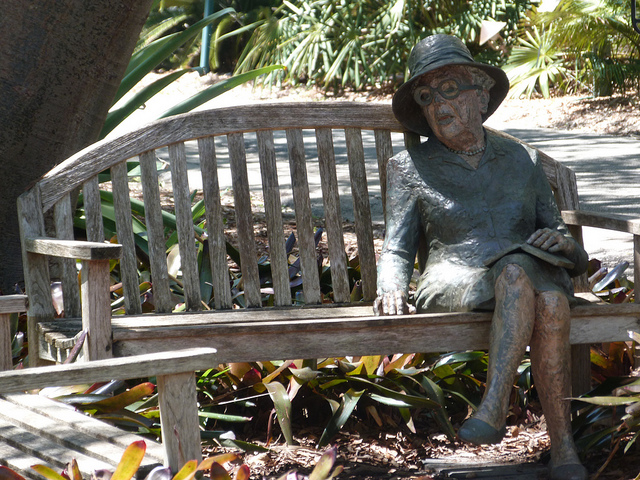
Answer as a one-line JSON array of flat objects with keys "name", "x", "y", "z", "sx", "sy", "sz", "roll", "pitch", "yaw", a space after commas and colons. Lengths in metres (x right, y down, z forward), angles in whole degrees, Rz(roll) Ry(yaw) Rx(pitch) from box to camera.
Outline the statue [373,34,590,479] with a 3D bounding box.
[{"name": "statue", "x": 0.668, "y": 0.006, "z": 4.223, "sx": 0.937, "sy": 1.829, "sz": 0.997, "roll": -4, "pitch": 0, "yaw": -16}]

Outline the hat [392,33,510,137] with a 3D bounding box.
[{"name": "hat", "x": 0.573, "y": -0.674, "z": 4.607, "sx": 0.505, "sy": 0.271, "sz": 0.526, "roll": -22, "pitch": -28, "yaw": 12}]
